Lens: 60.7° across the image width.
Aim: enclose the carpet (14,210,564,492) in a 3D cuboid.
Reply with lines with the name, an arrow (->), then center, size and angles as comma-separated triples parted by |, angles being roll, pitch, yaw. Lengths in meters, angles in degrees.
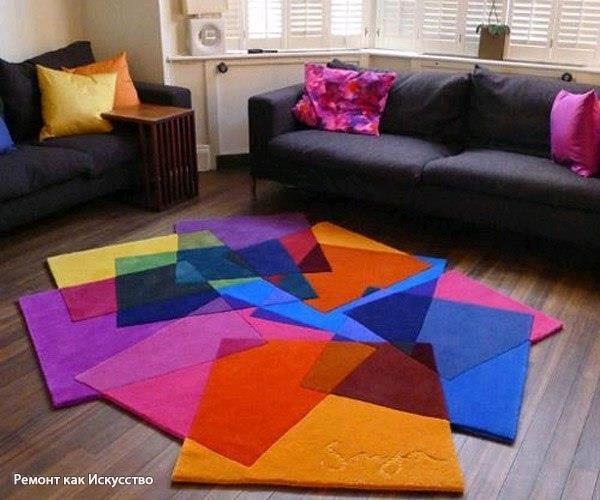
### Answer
carpet -> -0.100, 0.311, 2.216 | 2.099, 0.082, 1.635 | 17, 30, 28
